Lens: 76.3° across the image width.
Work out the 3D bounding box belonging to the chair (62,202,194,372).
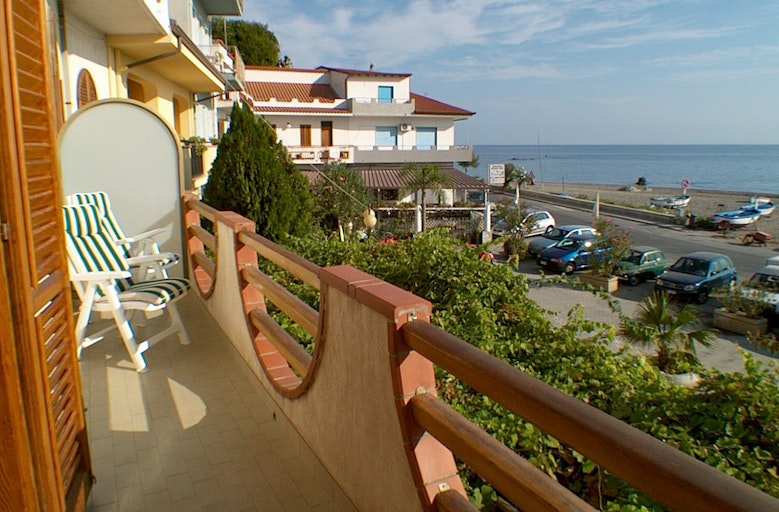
[{"bbox_3d":[-2.890,0.257,5.398,1.233,1.406,1.072,9,13,-3],"label":"chair"}]

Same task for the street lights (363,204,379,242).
[{"bbox_3d":[-0.657,-1.084,20.817,0.664,1.757,0.654,-11,20,-9],"label":"street lights"}]

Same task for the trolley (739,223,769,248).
[{"bbox_3d":[23.429,-1.280,31.966,1.273,1.285,1.765,5,18,8],"label":"trolley"}]

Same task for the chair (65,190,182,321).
[{"bbox_3d":[-3.500,-0.149,6.474,1.420,1.718,1.267,-1,14,-4],"label":"chair"}]

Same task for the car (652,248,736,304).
[{"bbox_3d":[11.453,0.701,18.505,3.012,1.431,1.597,-5,9,-30],"label":"car"}]
